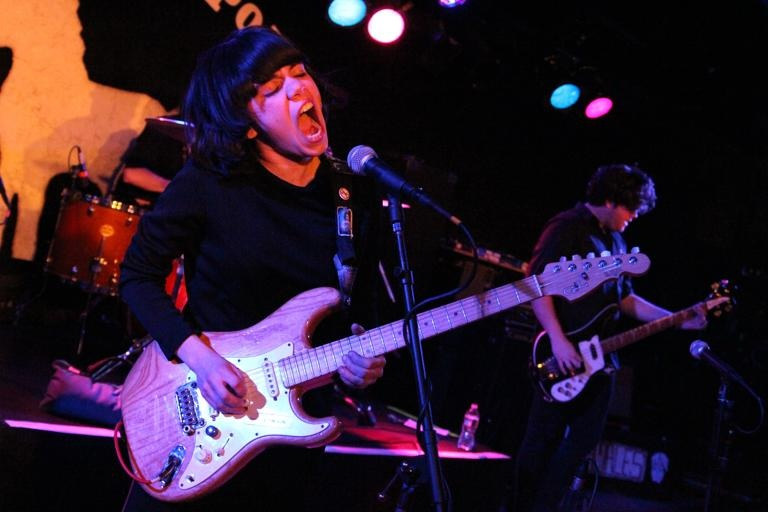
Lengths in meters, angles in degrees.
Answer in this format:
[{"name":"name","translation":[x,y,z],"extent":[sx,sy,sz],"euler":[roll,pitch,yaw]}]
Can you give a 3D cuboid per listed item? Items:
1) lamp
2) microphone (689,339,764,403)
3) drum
[{"name":"lamp","translation":[2.178,-1.883,7.347],"extent":[0.846,0.517,0.282],"euler":[48,7,27]},{"name":"microphone","translation":[3.926,1.313,7.373],"extent":[1.024,0.314,0.178],"euler":[42,38,22]},{"name":"drum","translation":[-2.492,-0.038,6.313],"extent":[1.294,0.992,1.298],"euler":[14,-1,0]}]
